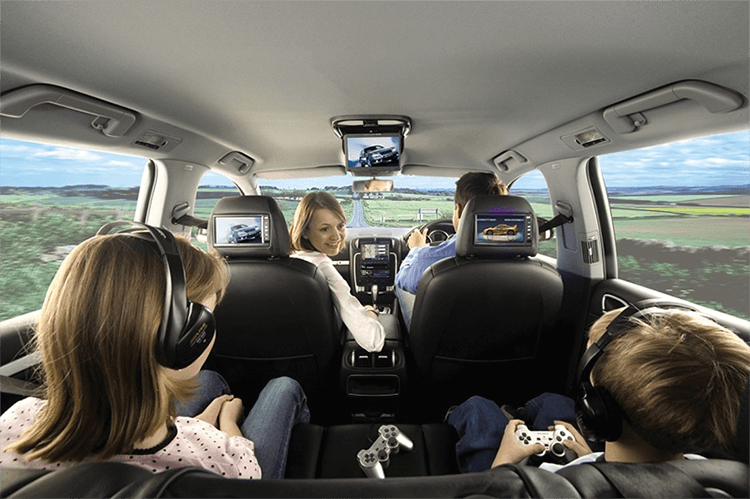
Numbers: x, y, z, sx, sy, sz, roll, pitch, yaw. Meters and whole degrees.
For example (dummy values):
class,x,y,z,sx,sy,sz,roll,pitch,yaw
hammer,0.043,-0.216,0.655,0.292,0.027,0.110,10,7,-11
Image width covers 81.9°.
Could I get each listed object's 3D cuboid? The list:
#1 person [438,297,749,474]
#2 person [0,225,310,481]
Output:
class,x,y,z,sx,sy,sz,roll,pitch,yaw
person,0.957,0.576,1.890,0.893,0.599,1.090,9,-12,-25
person,-0.598,0.285,1.879,0.977,0.694,1.327,2,10,4
